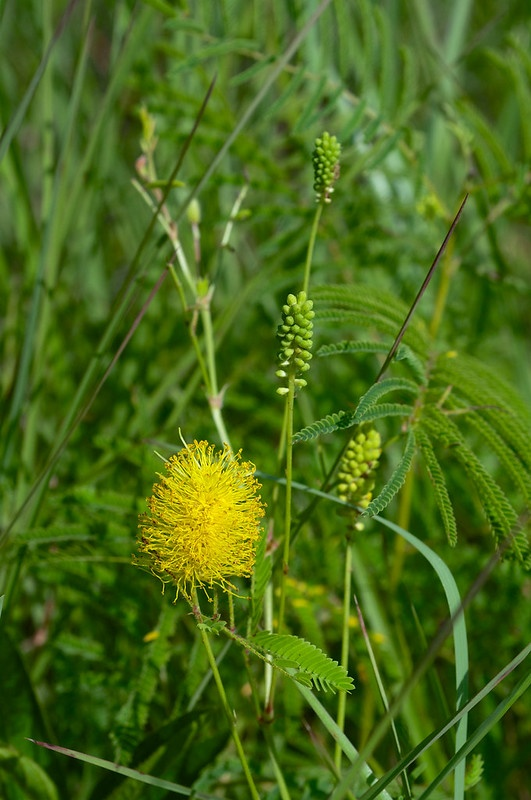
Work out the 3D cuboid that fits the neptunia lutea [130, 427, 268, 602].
[{"bbox_3d":[-0.070,0.117,0.784,0.136,0.167,0.139,-5,-11,25],"label":"neptunia lutea"}]
